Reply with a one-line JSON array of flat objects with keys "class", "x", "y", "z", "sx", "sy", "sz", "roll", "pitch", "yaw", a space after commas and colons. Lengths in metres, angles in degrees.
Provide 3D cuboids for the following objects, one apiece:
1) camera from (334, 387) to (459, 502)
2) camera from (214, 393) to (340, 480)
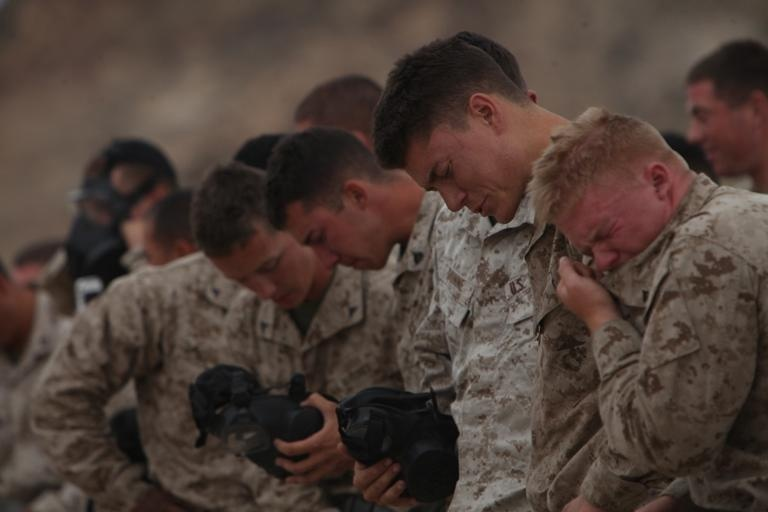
[{"class": "camera", "x": 0.089, "y": 0.717, "z": 4.281, "sx": 0.487, "sy": 0.376, "sz": 0.359, "roll": 12, "pitch": -1, "yaw": -25}, {"class": "camera", "x": -0.445, "y": 0.715, "z": 4.609, "sx": 0.441, "sy": 0.333, "sz": 0.190, "roll": 18, "pitch": 10, "yaw": -1}]
